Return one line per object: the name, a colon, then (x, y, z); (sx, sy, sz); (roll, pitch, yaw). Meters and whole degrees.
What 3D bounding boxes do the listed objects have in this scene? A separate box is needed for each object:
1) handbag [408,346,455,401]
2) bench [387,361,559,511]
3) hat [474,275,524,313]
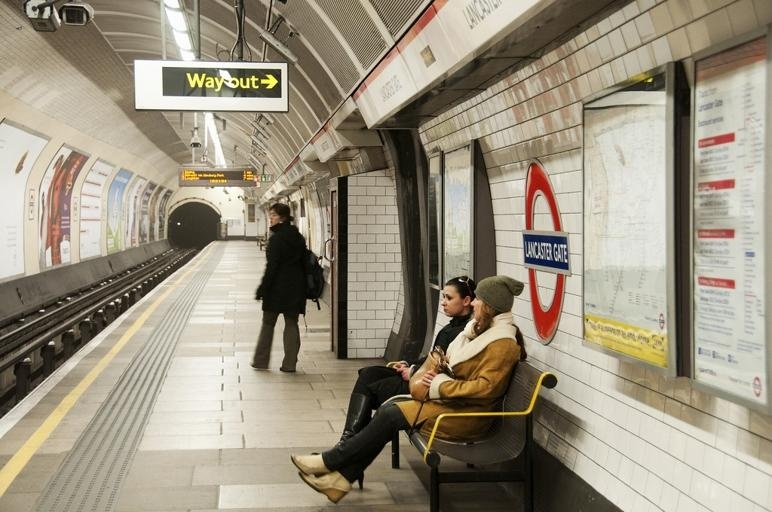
handbag: (0.367, 0.902, 3.634); (0.458, 0.436, 0.135); (11, -37, -3)
bench: (0.705, 1.390, 3.625); (1.232, 0.970, 1.217); (0, 0, -12)
hat: (0.887, 0.291, 3.511); (0.370, 0.275, 0.291); (8, -6, 43)
